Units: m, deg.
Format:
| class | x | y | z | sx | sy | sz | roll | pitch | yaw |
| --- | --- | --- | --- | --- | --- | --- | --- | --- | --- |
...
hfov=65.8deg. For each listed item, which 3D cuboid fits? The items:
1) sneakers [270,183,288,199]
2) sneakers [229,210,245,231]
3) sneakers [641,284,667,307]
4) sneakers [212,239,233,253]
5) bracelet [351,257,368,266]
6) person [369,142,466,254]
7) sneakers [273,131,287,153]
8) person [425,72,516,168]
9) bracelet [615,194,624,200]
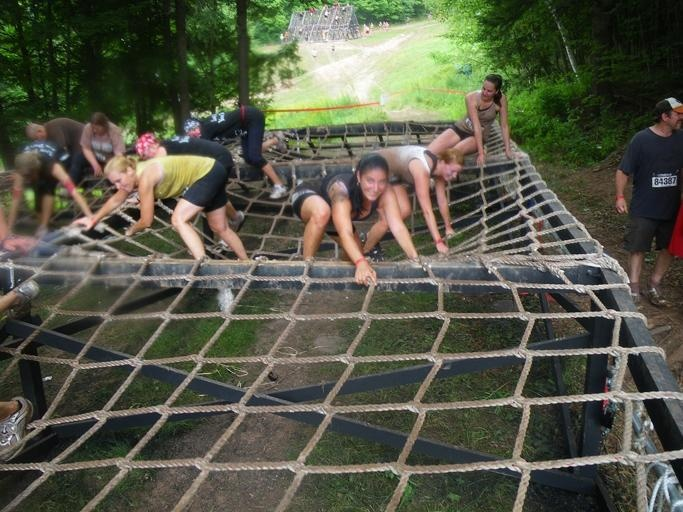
| class | x | y | z | sx | sy | sz | roll | pitch | yaw |
| --- | --- | --- | --- | --- | --- | --- | --- | --- | --- |
| sneakers | -0.868 | -0.879 | 7.127 | 0.303 | 0.177 | 0.144 | -6 | 25 | 19 |
| sneakers | -1.212 | -0.444 | 6.266 | 0.111 | 0.135 | 0.310 | -50 | 9 | 15 |
| sneakers | 3.187 | 0.396 | 5.421 | 0.130 | 0.105 | 0.256 | -29 | 37 | -4 |
| sneakers | -1.455 | -0.122 | 6.347 | 0.125 | 0.127 | 0.339 | -6 | -5 | -10 |
| bracelet | 0.132 | 0.040 | 3.774 | 0.090 | 0.061 | 0.100 | -14 | 22 | -7 |
| person | 0.720 | -0.616 | 5.063 | 0.553 | 0.794 | 1.283 | -15 | 28 | -37 |
| sneakers | -0.972 | -1.849 | 8.537 | 0.220 | 0.314 | 0.137 | -7 | 19 | -19 |
| person | 1.501 | -1.608 | 6.219 | 0.875 | 0.994 | 0.576 | -6 | 24 | 16 |
| bracelet | 2.887 | -0.614 | 5.484 | 0.078 | 0.047 | 0.072 | 0 | 4 | 3 |
